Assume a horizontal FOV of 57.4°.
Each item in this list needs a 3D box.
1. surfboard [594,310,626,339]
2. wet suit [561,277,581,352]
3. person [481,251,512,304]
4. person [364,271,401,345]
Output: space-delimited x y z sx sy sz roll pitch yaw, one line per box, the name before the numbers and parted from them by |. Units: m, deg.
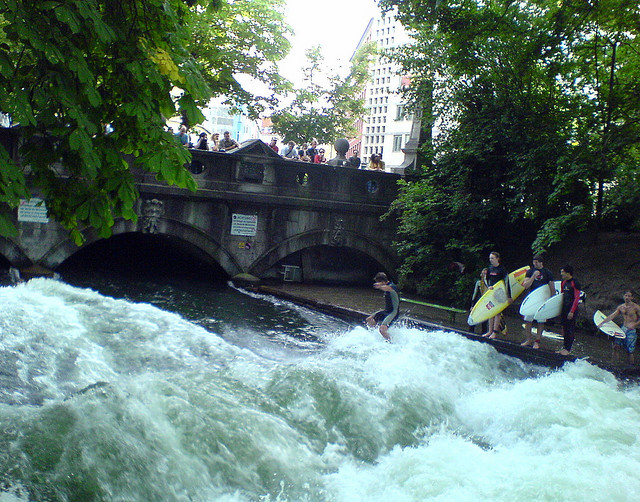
surfboard | 5.802 1.446 11.577 0.336 0.127 1.110 39 16 6
wet suit | 4.717 1.203 11.018 0.353 1.363 0.427 6 9 23
person | 3.627 0.763 11.847 0.530 1.556 0.407 5 26 34
person | 1.241 1.007 11.130 0.619 1.278 1.606 4 9 6
